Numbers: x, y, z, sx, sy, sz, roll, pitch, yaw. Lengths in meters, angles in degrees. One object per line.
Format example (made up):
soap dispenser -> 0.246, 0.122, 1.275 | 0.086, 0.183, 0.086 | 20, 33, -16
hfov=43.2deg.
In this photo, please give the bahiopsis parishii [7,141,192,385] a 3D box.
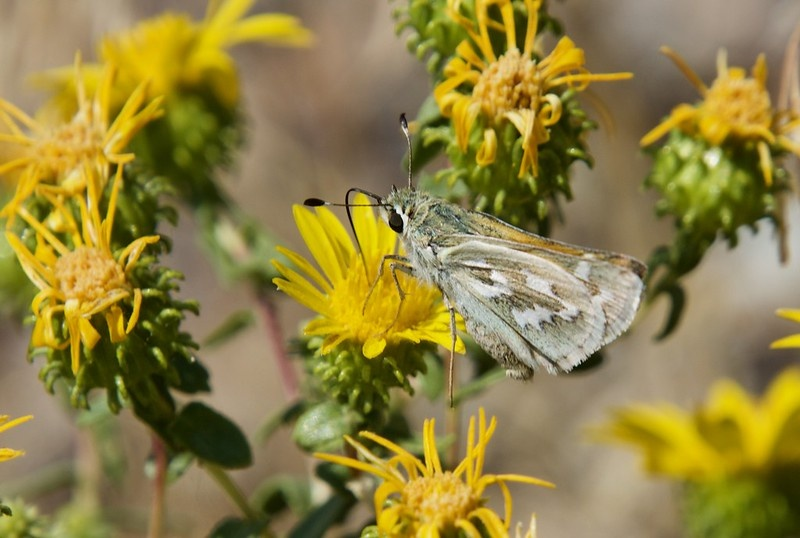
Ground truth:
bahiopsis parishii -> -1.133, -0.009, 3.632 | 0.579, 0.196, 0.644 | -32, 65, -4
